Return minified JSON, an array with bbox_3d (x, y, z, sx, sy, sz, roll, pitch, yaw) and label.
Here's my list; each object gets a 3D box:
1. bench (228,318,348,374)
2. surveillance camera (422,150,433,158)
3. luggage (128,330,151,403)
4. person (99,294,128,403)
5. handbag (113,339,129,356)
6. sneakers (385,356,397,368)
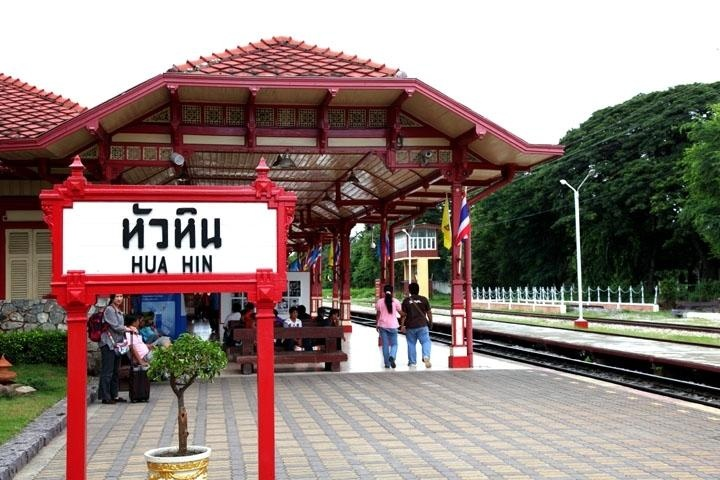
[{"bbox_3d":[-1.830,2.753,17.273,2.587,1.146,3.013,-2,-7,-9],"label":"bench"},{"bbox_3d":[1.702,-2.104,16.913,0.142,0.224,0.255,-7,-7,27],"label":"surveillance camera"},{"bbox_3d":[-4.229,2.486,13.231,0.490,1.188,0.414,4,-12,-13],"label":"luggage"},{"bbox_3d":[-4.815,2.104,13.225,0.512,2.049,0.573,-2,-7,-7],"label":"person"},{"bbox_3d":[-4.662,2.142,13.390,0.202,0.252,0.271,2,-23,-10],"label":"handbag"},{"bbox_3d":[0.763,3.127,17.154,0.181,0.395,0.172,0,27,21],"label":"sneakers"}]
